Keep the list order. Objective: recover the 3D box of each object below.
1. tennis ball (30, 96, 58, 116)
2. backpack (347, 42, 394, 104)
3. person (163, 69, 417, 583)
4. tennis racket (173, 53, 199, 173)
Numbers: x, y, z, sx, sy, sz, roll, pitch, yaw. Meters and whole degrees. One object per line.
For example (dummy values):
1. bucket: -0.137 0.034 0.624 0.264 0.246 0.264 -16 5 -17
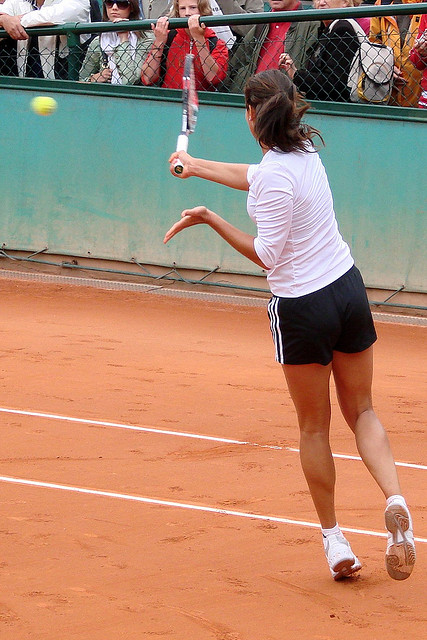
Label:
1. tennis ball: -1.865 -2.346 8.105 0.281 0.179 0.271 0 4 0
2. backpack: 1.475 -2.236 6.937 0.391 0.515 0.315 -36 37 -30
3. person: 0.350 0.070 2.435 0.938 1.741 0.365 12 14 30
4. tennis racket: -0.140 -1.126 3.938 0.164 0.579 0.053 12 21 27
